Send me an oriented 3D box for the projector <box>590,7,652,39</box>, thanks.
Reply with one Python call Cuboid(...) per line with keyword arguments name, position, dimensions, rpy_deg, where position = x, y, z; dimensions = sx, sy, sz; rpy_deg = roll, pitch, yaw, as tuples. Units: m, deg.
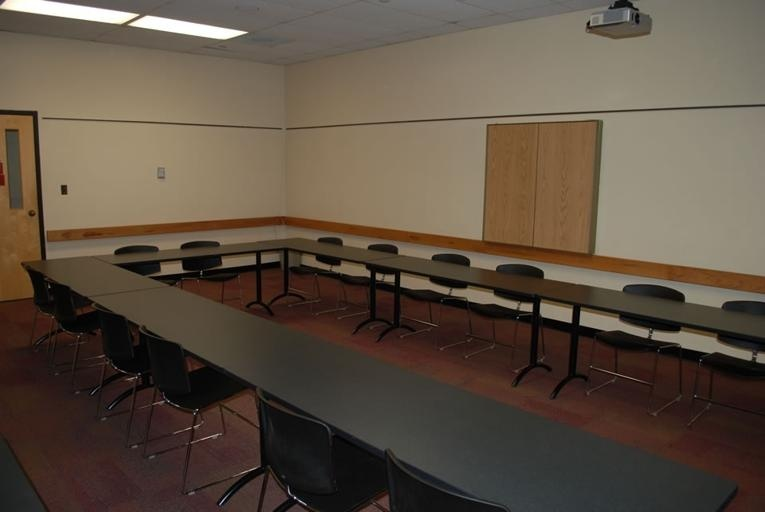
Cuboid(name="projector", position=(2.530, -2.472, 5.603), dimensions=(0.756, 0.209, 0.474), rpy_deg=(-13, 16, -42))
